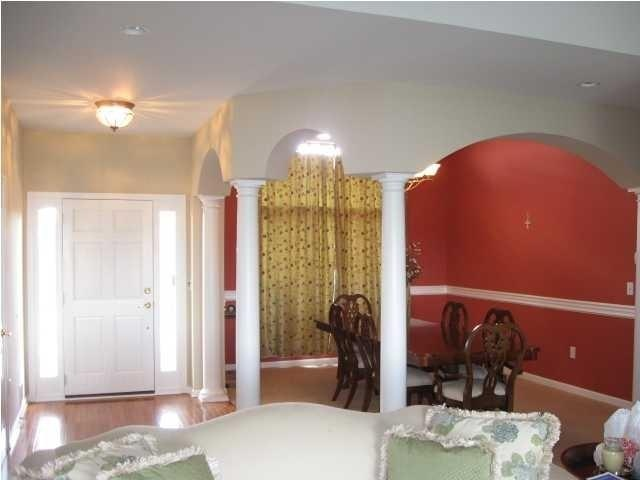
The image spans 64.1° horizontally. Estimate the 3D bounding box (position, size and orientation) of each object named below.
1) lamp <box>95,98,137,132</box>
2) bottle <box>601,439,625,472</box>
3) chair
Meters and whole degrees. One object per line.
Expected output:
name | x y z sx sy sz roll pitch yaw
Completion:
lamp | -1.969 -1.195 4.868 0.295 0.210 0.291 0 -1 -26
bottle | 1.778 1.305 3.112 0.126 0.218 0.110 3 3 34
chair | 1.168 1.318 5.349 1.515 1.273 2.082 1 2 -20
